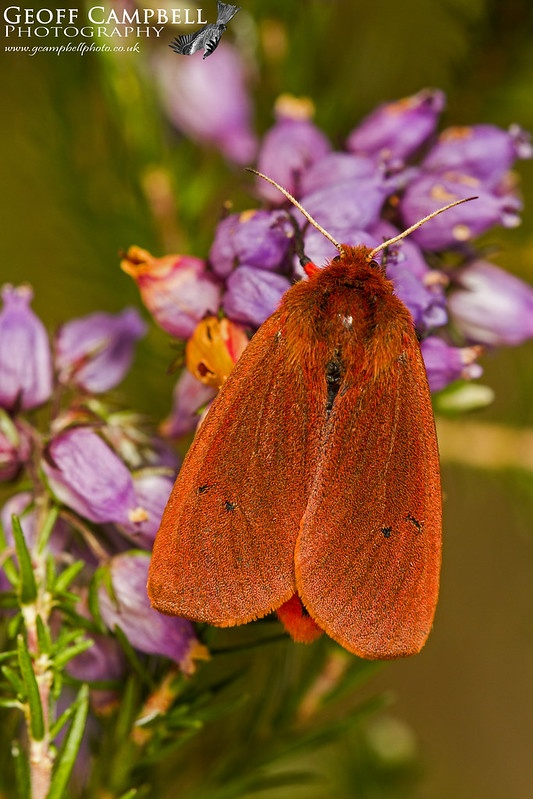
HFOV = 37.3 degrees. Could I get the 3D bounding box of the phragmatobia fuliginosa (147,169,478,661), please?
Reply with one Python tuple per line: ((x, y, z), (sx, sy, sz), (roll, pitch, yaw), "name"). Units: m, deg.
((0.048, 0.038, 0.739), (0.273, 0.150, 0.432), (10, 98, 1), "phragmatobia fuliginosa")
